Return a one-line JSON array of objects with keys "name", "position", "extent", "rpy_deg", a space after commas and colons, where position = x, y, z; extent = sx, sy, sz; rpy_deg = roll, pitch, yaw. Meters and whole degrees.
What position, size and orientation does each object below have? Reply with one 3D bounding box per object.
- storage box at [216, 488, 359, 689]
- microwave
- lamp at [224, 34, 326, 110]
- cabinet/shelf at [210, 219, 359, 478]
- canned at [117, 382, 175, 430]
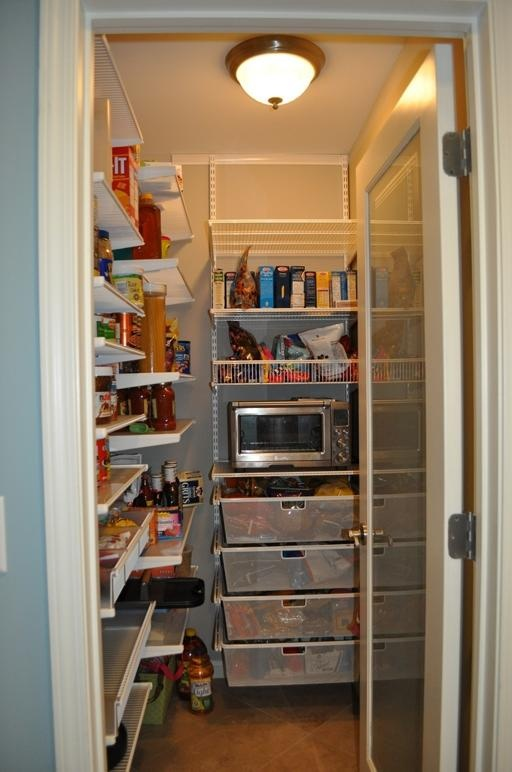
[{"name": "storage box", "position": [0.126, 0.660, 2.439], "extent": [0.672, 0.893, 0.594], "rpy_deg": [-1, 2, -1]}, {"name": "microwave", "position": [0.120, 0.135, 2.297], "extent": [0.415, 0.306, 0.291], "rpy_deg": [-2, 23, -1]}, {"name": "lamp", "position": [0.055, -0.888, 1.755], "extent": [0.284, 0.110, 0.199], "rpy_deg": [-1, 1, -2]}, {"name": "cabinet/shelf", "position": [0.095, -0.033, 2.352], "extent": [0.395, 0.763, 0.249], "rpy_deg": [-2, -6, 11]}, {"name": "canned", "position": [-0.309, 0.067, 1.859], "extent": [0.148, 0.161, 0.102], "rpy_deg": [0, 5, 23]}]
